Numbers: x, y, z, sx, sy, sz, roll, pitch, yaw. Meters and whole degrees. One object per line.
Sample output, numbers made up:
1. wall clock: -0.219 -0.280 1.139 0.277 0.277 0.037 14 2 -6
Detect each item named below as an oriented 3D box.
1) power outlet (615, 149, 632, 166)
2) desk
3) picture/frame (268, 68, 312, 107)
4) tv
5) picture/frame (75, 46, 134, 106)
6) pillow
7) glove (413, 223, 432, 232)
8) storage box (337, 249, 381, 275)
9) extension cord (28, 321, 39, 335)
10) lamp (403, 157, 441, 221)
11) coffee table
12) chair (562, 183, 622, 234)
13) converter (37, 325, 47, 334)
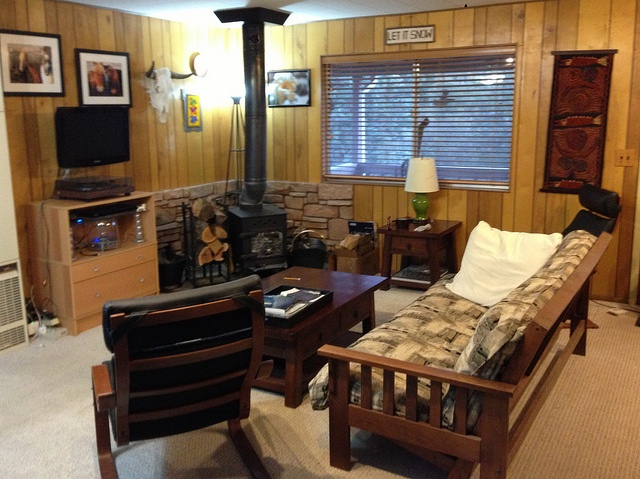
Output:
1. power outlet: 2.752 -0.744 4.333 0.155 0.163 0.026 8 19 31
2. desk: 1.027 0.172 5.090 0.842 0.743 0.811 2 7 21
3. picture/frame: -0.324 -1.778 5.573 0.517 0.341 0.041 6 16 24
4. tv: -2.029 -0.916 4.238 0.072 0.421 0.628 14 21 37
5. picture/frame: -2.001 -1.504 4.415 0.061 0.514 0.647 16 20 38
6. pillow: 1.333 0.179 3.579 0.537 0.742 1.003 6 -5 -36
7. glove: 1.040 -0.119 4.788 0.260 0.092 0.072 -9 24 -42
8. storage box: 0.415 0.160 5.257 0.291 0.224 0.531 4 9 28
9. extension cord: -2.371 0.741 3.979 0.024 0.091 0.094 2 -3 22
10. lamp: 1.068 -0.526 5.030 0.330 0.641 0.334 1 16 12
11. coffee table: -0.079 0.610 3.300 0.777 0.484 1.238 5 12 26
12. chair: 2.271 -0.263 3.971 0.483 0.381 0.329 -21 20 -14
13. converter: -2.303 0.761 3.995 0.082 0.074 0.055 20 -17 -33
